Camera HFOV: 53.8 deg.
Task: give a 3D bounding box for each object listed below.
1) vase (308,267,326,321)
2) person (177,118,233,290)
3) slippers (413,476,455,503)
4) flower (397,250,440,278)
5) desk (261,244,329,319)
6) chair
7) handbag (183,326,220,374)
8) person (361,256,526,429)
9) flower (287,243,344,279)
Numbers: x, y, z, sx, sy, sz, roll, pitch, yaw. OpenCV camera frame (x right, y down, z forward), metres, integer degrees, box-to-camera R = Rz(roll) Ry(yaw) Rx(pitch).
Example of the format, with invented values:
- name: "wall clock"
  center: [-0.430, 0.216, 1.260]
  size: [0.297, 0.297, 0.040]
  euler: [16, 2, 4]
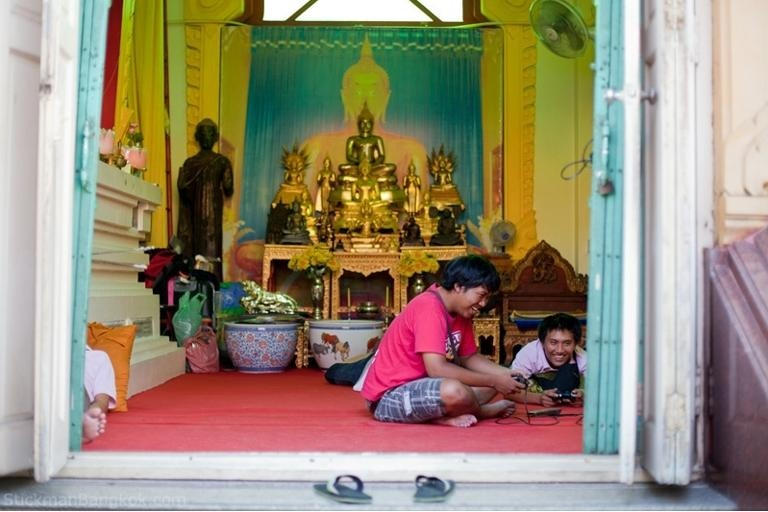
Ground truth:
- name: "vase"
  center: [-0.499, 0.273, 5.850]
  size: [0.109, 0.392, 0.270]
  euler: [0, -2, 4]
- name: "person"
  center: [-1.564, -0.510, 6.652]
  size: [0.488, 1.441, 0.409]
  euler: [1, -2, -12]
- name: "slippers"
  center: [0.184, 0.867, 2.822]
  size: [0.108, 0.037, 0.075]
  euler: [-2, 15, -4]
- name: "flower"
  center: [0.267, 0.063, 5.842]
  size: [0.238, 0.162, 0.237]
  euler: [-3, -5, 17]
- name: "desk"
  center: [-0.658, 0.221, 6.185]
  size: [0.718, 0.660, 0.546]
  euler: [1, -13, 2]
- name: "chair"
  center: [1.198, 0.342, 5.577]
  size: [0.728, 0.866, 0.493]
  euler: [-2, 2, 7]
- name: "handbag"
  center: [-1.216, 0.645, 5.072]
  size: [0.238, 0.295, 0.152]
  euler: [5, -10, -35]
- name: "person"
  center: [0.359, 0.399, 3.833]
  size: [0.793, 0.770, 0.819]
  euler: [-1, -5, 19]
- name: "flower"
  center: [-0.540, 0.054, 5.853]
  size: [0.294, 0.249, 0.298]
  euler: [-4, -8, 39]
